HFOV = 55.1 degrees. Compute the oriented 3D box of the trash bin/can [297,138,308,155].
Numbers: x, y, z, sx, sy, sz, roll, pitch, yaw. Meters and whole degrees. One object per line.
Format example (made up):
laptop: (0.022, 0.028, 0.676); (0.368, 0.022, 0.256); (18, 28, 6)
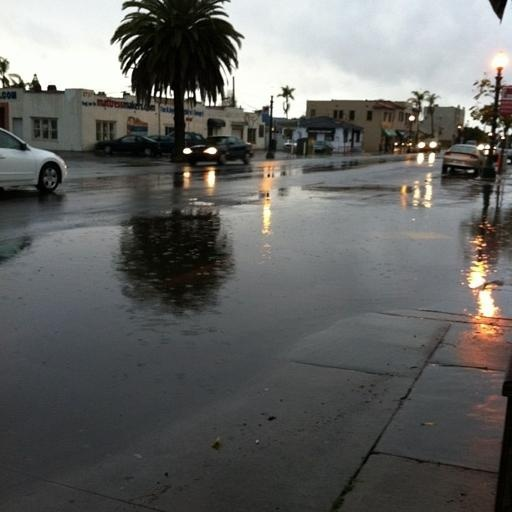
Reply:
trash bin/can: (6.041, -14.504, 65.387); (1.520, 2.255, 2.867); (0, 8, -4)
